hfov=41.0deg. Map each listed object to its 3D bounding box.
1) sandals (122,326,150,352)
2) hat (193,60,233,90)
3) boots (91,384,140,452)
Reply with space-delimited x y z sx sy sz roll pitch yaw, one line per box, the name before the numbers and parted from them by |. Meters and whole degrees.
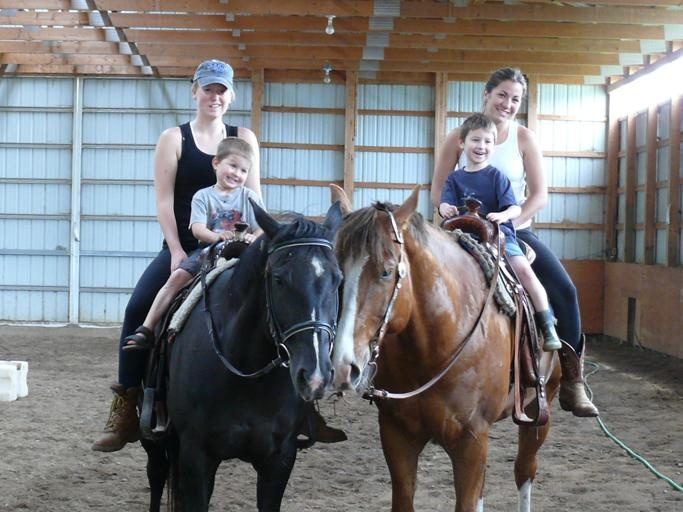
sandals | -1.857 0.751 8.359 0.256 0.180 0.151 -2 -9 21
hat | -1.249 -1.765 8.841 0.234 0.243 0.362 3 -5 -12
boots | -2.124 1.532 8.618 0.226 0.591 0.612 2 9 26
